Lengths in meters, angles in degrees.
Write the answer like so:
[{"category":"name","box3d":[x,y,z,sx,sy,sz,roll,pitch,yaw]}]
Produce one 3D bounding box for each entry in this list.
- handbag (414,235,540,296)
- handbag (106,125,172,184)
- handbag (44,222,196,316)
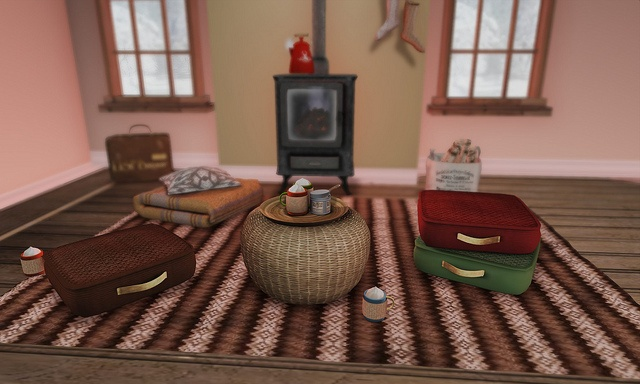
[{"category":"handbag","box3d":[1.101,0.464,3.001,0.591,0.130,0.525,7,14,20]},{"category":"handbag","box3d":[-1.831,-0.407,4.567,0.835,0.594,0.242,-1,7,23]},{"category":"handbag","box3d":[-1.388,0.535,2.980,0.835,0.404,0.501,-9,20,-31]}]
